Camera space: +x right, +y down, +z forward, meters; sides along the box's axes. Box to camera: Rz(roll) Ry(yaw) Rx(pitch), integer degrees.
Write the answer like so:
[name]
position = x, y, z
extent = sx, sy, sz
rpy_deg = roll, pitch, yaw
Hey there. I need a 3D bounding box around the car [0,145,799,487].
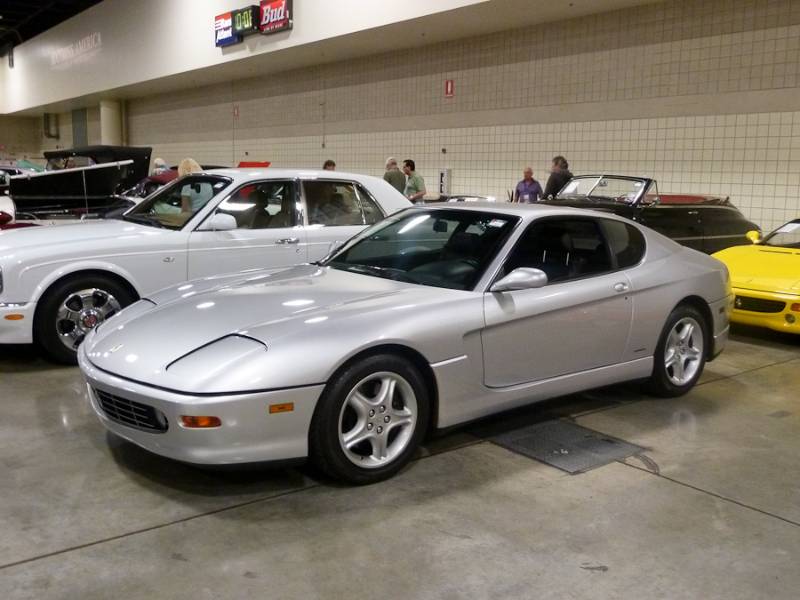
[car]
position = 0.288, 0.078, 3.701
extent = 4.223, 1.106, 1.993
rpy_deg = -4, 10, -28
